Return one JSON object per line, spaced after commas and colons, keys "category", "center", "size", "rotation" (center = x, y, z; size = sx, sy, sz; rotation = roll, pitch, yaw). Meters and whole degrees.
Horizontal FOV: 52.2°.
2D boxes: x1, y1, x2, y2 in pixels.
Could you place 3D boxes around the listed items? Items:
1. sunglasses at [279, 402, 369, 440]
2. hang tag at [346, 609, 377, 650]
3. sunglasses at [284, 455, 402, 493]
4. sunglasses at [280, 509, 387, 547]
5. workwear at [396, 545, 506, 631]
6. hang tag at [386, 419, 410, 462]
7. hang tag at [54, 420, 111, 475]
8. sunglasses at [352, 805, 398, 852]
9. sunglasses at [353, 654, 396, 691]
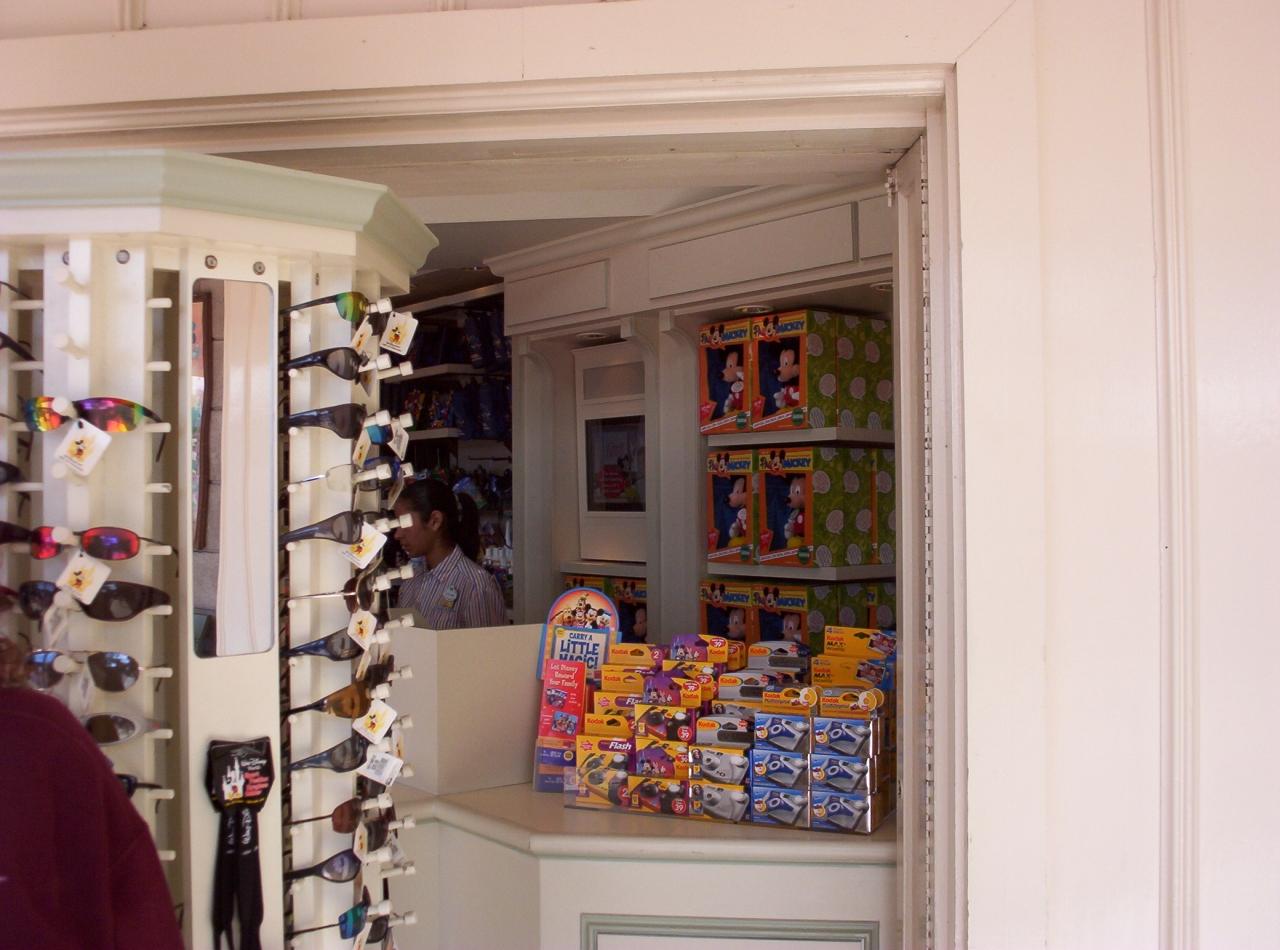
{"category": "sunglasses", "center": [-0.583, -0.098, 2.419], "size": [0.151, 0.064, 0.048], "rotation": [2, -6, -16]}
{"category": "hang tag", "center": [-0.522, 0.291, 2.434], "size": [0.059, 0.085, 0.006], "rotation": [12, -13, -28]}
{"category": "sunglasses", "center": [-0.541, 0.000, 2.452], "size": [0.098, 0.032, 0.098], "rotation": [-11, -1, 34]}
{"category": "sunglasses", "center": [-0.562, 0.102, 2.441], "size": [0.203, 0.070, 0.077], "rotation": [3, -7, -23]}
{"category": "workwear", "center": [-0.681, 0.414, 4.651], "size": [0.370, 0.358, 0.190], "rotation": [-5, -12, 25]}
{"category": "hang tag", "center": [-0.467, -0.067, 2.516], "size": [0.020, 0.093, 0.059], "rotation": [-5, -26, -16]}
{"category": "hang tag", "center": [-0.969, -0.046, 2.277], "size": [0.090, 0.094, 0.025], "rotation": [36, 0, -3]}
{"category": "sunglasses", "center": [-0.497, 0.676, 2.485], "size": [0.025, 0.077, 0.053], "rotation": [-9, -42, 30]}
{"category": "sunglasses", "center": [-0.508, 0.378, 2.501], "size": [0.063, 0.074, 0.040], "rotation": [-2, -11, 39]}
